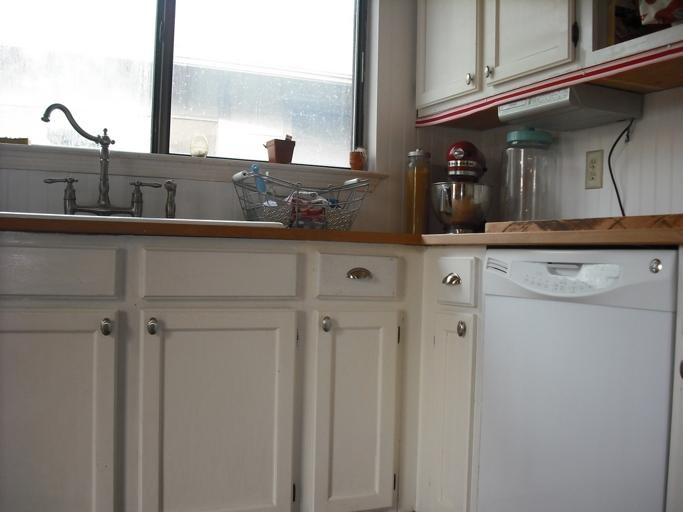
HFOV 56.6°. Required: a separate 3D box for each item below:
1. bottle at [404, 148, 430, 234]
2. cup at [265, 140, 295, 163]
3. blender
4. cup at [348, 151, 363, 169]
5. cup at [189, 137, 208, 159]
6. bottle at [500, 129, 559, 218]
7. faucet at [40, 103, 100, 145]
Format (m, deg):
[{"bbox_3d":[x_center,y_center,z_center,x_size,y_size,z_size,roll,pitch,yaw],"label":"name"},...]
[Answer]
[{"bbox_3d":[0.348,-0.290,2.892,0.100,0.371,0.075,1,1,9],"label":"bottle"},{"bbox_3d":[-0.276,-0.471,2.903,0.118,0.103,0.102,2,-6,-26],"label":"cup"},{"bbox_3d":[0.526,-0.297,2.765,0.208,0.401,0.310,2,1,44],"label":"blender"},{"bbox_3d":[0.067,-0.443,2.945,0.068,0.087,0.068,0,9,0],"label":"cup"},{"bbox_3d":[-0.615,-0.464,2.725,0.077,0.108,0.082,0,9,0],"label":"cup"},{"bbox_3d":[0.778,-0.350,2.774,0.282,0.391,0.220,1,1,41],"label":"bottle"},{"bbox_3d":[-1.042,-0.516,2.461,0.222,0.101,0.052,24,-24,-24],"label":"faucet"}]
